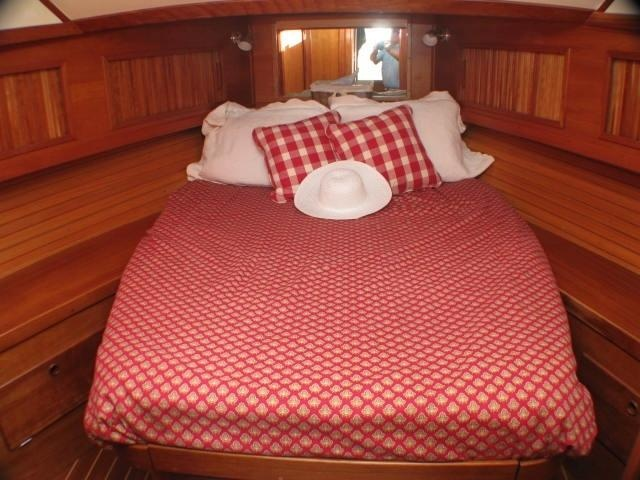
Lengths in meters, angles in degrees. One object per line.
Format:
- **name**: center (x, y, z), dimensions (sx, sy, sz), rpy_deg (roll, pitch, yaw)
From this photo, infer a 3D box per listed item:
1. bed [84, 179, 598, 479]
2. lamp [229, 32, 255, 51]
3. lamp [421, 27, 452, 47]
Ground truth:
- **bed**: center (0.062, 0.286, 1.722), dimensions (1.653, 0.520, 1.000), rpy_deg (1, 19, 8)
- **lamp**: center (-0.549, -1.414, 3.165), dimensions (0.227, 0.119, 0.081), rpy_deg (15, 42, 22)
- **lamp**: center (0.806, -1.394, 3.059), dimensions (0.182, 0.106, 0.155), rpy_deg (2, 20, 11)
